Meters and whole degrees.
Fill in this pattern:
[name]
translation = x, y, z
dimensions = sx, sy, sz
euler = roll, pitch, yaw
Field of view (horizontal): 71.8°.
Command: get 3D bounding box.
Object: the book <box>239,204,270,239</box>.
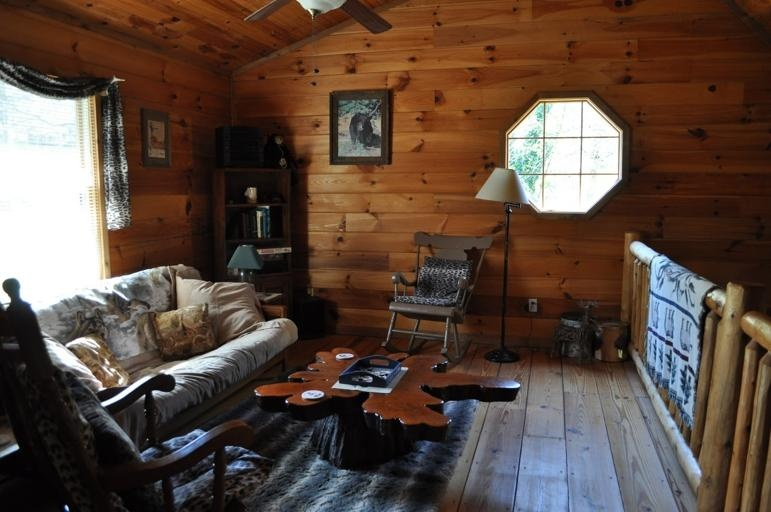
[book]
translation = -1.384, -0.354, 5.590
dimensions = 0.313, 0.355, 0.115
euler = 1, 9, -12

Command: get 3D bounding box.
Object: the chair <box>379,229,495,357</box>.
[chair]
translation = 0.536, 0.379, 5.245
dimensions = 1.111, 1.025, 0.971
euler = -1, 13, 10

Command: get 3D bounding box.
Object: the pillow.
[pillow]
translation = -1.747, 0.472, 4.194
dimensions = 0.918, 0.563, 1.624
euler = 7, 15, 30

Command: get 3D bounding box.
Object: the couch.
[couch]
translation = -1.784, 0.574, 4.064
dimensions = 1.356, 0.839, 2.305
euler = 7, 11, 21

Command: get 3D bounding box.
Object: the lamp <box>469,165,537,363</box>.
[lamp]
translation = 1.115, 0.061, 5.205
dimensions = 0.532, 1.871, 0.633
euler = 5, 9, 11
